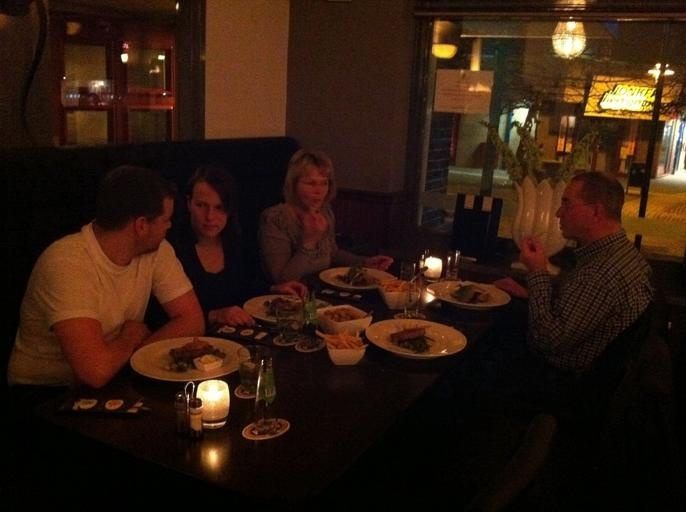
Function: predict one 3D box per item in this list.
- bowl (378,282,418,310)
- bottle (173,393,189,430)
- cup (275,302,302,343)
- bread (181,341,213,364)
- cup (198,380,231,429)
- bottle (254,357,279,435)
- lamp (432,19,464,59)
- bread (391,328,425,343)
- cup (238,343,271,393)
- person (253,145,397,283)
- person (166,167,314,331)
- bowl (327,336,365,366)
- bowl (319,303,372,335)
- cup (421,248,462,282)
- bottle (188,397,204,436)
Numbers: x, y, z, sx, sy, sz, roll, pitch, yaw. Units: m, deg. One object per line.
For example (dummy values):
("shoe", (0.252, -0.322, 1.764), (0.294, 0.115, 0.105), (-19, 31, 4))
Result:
("bowl", (0.246, 0.176, 2.520), (0.116, 0.074, 0.144), (1, 6, 4))
("bottle", (-0.479, 0.453, 1.675), (0.032, 0.113, 0.090), (-6, 16, -24))
("cup", (-0.215, 0.251, 2.217), (0.119, 0.171, 0.107), (-4, 13, -17))
("bread", (-0.507, 0.322, 1.980), (0.084, 0.051, 0.082), (-7, 13, -31))
("cup", (-0.382, 0.441, 1.707), (0.122, 0.122, 0.126), (0, 1, 0))
("bottle", (-0.240, 0.407, 1.728), (0.065, 0.203, 0.184), (-2, 15, -7))
("lamp", (0.787, -1.666, 4.380), (0.259, 0.291, 0.255), (1, 11, 1))
("bread", (0.252, 0.298, 2.190), (0.103, 0.032, 0.058), (-5, 3, -25))
("cup", (-0.287, 0.406, 1.869), (0.088, 0.140, 0.089), (12, -19, 4))
("person", (-0.197, -0.239, 3.454), (0.750, 0.887, 0.839), (11, 18, 24))
("person", (-0.548, -0.018, 2.923), (0.613, 0.794, 0.602), (7, 13, 35))
("bowl", (0.011, 0.340, 2.053), (0.103, 0.069, 0.122), (2, 4, 3))
("bowl", (0.004, 0.247, 2.255), (0.147, 0.066, 0.129), (6, 10, 37))
("cup", (0.529, 0.059, 3.082), (0.213, 0.196, 0.209), (2, -1, 0))
("bottle", (-0.430, 0.463, 1.638), (0.046, 0.124, 0.029), (1, 15, 1))
